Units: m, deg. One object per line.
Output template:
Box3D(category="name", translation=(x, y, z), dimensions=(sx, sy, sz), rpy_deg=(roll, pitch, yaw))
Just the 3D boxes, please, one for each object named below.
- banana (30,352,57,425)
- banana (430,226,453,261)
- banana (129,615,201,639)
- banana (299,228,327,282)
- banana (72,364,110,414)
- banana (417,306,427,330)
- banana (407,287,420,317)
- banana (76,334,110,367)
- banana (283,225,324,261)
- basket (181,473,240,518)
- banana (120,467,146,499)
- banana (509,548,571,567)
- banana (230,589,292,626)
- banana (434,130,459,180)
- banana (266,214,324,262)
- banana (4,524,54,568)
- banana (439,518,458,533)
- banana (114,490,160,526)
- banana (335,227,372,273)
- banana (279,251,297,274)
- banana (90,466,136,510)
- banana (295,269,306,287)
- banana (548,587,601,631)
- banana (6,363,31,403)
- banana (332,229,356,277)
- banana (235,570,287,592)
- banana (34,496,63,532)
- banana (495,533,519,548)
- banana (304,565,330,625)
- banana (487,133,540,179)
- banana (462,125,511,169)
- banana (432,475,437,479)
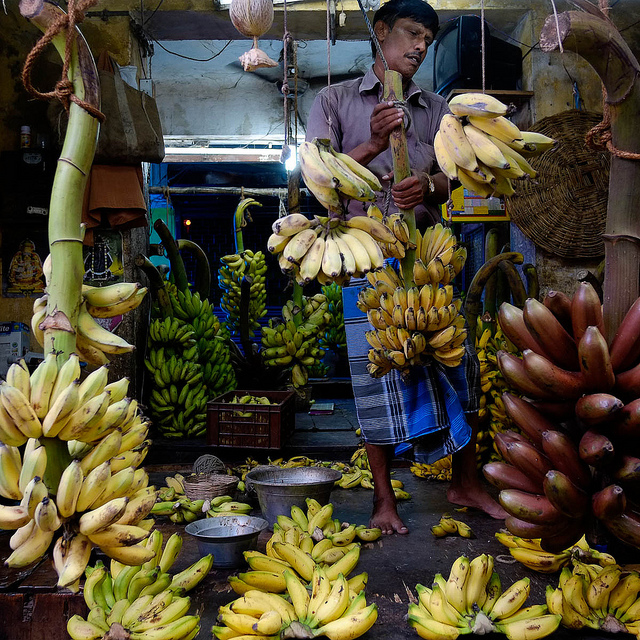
Box3D(category="banana", translation=(-0.608, 0.148, 1.557), dimensions=(0.037, 0.185, 0.060), rpy_deg=(8, -14, -19))
Box3D(category="banana", translation=(0.441, -0.284, 2.554), dimensions=(0.035, 0.179, 0.044), rpy_deg=(22, -5, 15))
Box3D(category="banana", translation=(-0.390, 0.794, 1.788), dimensions=(0.173, 0.041, 0.061), rpy_deg=(-9, 5, -16))
Box3D(category="banana", translation=(-0.009, -0.200, 2.233), dimensions=(0.045, 0.064, 0.181), rpy_deg=(24, 53, -2))
Box3D(category="banana", translation=(-0.506, 0.147, 1.636), dimensions=(0.046, 0.038, 0.137), rpy_deg=(11, 59, 50))
Box3D(category="banana", translation=(0.353, -0.008, 2.435), dimensions=(0.022, 0.094, 0.030), rpy_deg=(9, 26, 20))
Box3D(category="banana", translation=(0.325, -0.063, 2.431), dimensions=(0.027, 0.113, 0.036), rpy_deg=(-2, -2, -3))
Box3D(category="banana", translation=(-0.538, 0.068, 1.678), dimensions=(0.023, 0.097, 0.034), rpy_deg=(-50, 13, -19))
Box3D(category="banana", translation=(-0.046, -0.240, 2.266), dimensions=(0.061, 0.054, 0.178), rpy_deg=(23, 49, 25))
Box3D(category="basket", translation=(-0.512, 0.783, 3.262), dimensions=(0.253, 0.127, 0.361), rpy_deg=(-7, 5, 2))
Box3D(category="banana", translation=(-0.452, 0.401, 1.725), dimensions=(0.023, 0.096, 0.033), rpy_deg=(27, 13, -23))
Box3D(category="banana", translation=(0.721, 0.772, 2.300), dimensions=(0.187, 0.055, 0.064), rpy_deg=(-6, 4, 19))
Box3D(category="banana", translation=(-0.159, 0.773, 1.909), dimensions=(0.091, 0.031, 0.078), rpy_deg=(15, 33, -2))
Box3D(category="banana", translation=(0.378, -0.487, 2.127), dimensions=(0.051, 0.179, 0.051), rpy_deg=(-20, -35, 19))
Box3D(category="banana", translation=(-0.087, -0.264, 2.260), dimensions=(0.066, 0.116, 0.192), rpy_deg=(0, 27, 46))
Box3D(category="banana", translation=(-0.639, 0.496, 1.563), dimensions=(0.108, 0.083, 0.053), rpy_deg=(-10, 5, -31))
Box3D(category="banana", translation=(0.488, 0.776, 2.688), dimensions=(0.064, 0.040, 0.037), rpy_deg=(34, -19, -11))
Box3D(category="banana", translation=(-0.434, 0.455, 1.721), dimensions=(0.045, 0.037, 0.136), rpy_deg=(-11, 30, 42))
Box3D(category="banana", translation=(0.106, -0.212, 2.257), dimensions=(0.060, 0.051, 0.190), rpy_deg=(-36, 39, 8))
Box3D(category="banana", translation=(-0.105, -0.182, 2.246), dimensions=(0.026, 0.037, 0.097), rpy_deg=(0, -18, 6))
Box3D(category="banana", translation=(-0.467, 0.382, 1.621), dimensions=(0.039, 0.131, 0.046), rpy_deg=(43, 7, 25))
Box3D(category="banana", translation=(-0.060, -0.130, 2.197), dimensions=(0.019, 0.020, 0.061), rpy_deg=(17, 28, -10))
Box3D(category="banana", translation=(0.696, 0.798, 1.940), dimensions=(0.122, 0.107, 0.081), rpy_deg=(-7, 4, -6))
Box3D(category="banana", translation=(-0.662, 0.140, 1.554), dimensions=(0.018, 0.076, 0.026), rpy_deg=(-14, 13, 25))
Box3D(category="banana", translation=(0.070, -0.233, 2.290), dimensions=(0.078, 0.064, 0.261), rpy_deg=(31, -16, 13))
Box3D(category="banana", translation=(-0.169, 0.762, 2.063), dimensions=(0.155, 0.046, 0.060), rpy_deg=(14, 37, -14))
Box3D(category="banana", translation=(-0.568, 0.411, 1.492), dimensions=(0.028, 0.119, 0.039), rpy_deg=(-11, 30, -13))
Box3D(category="banana", translation=(0.641, 0.752, 2.417), dimensions=(0.037, 0.033, 0.116), rpy_deg=(-12, -10, 1))
Box3D(category="banana", translation=(-0.008, 0.741, 1.919), dimensions=(0.031, 0.052, 0.147), rpy_deg=(-17, 34, 18))
Box3D(category="banana", translation=(0.563, -0.484, 2.074), dimensions=(0.194, 0.076, 0.042), rpy_deg=(35, -7, -11))
Box3D(category="banana", translation=(0.481, -0.499, 2.099), dimensions=(0.062, 0.066, 0.200), rpy_deg=(-1, 48, -40))
Box3D(category="banana", translation=(0.590, 0.801, 3.619), dimensions=(0.010, 0.019, 0.063), rpy_deg=(-3, -10, 13))
